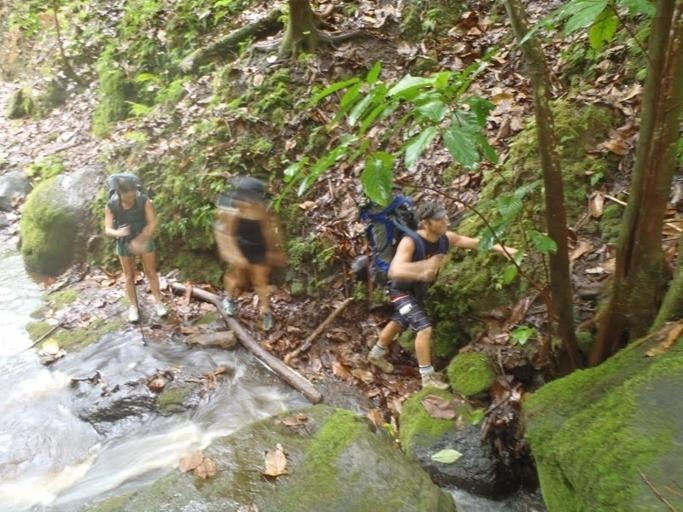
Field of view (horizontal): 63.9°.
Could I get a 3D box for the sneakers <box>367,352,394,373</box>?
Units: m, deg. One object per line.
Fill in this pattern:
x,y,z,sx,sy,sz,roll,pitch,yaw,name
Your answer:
0.572,1.525,7.787,0.382,0.152,0.209,27,19,7,sneakers

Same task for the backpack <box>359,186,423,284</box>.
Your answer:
0.670,-0.215,7.120,0.753,1.118,0.484,-9,25,-4,backpack

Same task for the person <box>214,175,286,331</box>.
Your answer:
-1.450,-0.080,8.374,1.004,2.442,0.971,-17,27,-22,person

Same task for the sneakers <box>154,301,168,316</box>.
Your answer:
-3.060,0.914,9.328,0.199,0.237,0.112,-16,-18,-16,sneakers

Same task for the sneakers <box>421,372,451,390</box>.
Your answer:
1.221,1.649,7.196,0.398,0.238,0.133,-5,18,6,sneakers
